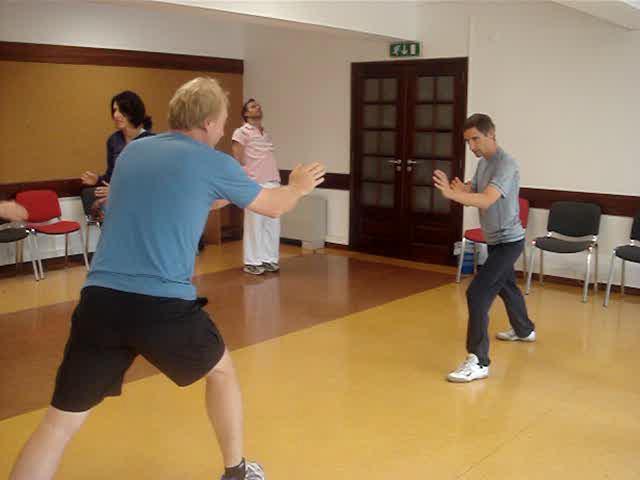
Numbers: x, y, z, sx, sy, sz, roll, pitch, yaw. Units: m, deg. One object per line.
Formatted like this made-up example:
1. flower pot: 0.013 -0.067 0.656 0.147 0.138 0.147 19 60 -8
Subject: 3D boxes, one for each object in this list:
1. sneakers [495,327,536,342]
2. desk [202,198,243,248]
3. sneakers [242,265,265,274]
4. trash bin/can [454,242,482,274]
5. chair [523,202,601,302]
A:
1. sneakers: 1.730 0.826 3.995 0.310 0.141 0.133 4 4 29
2. desk: -1.312 -0.163 6.091 0.243 0.608 0.642 6 11 32
3. sneakers: -0.878 0.388 6.018 0.252 0.122 0.111 1 9 9
4. trash bin/can: 1.968 0.246 6.062 0.375 0.422 0.354 0 1 8
5. chair: 2.795 0.106 5.165 0.830 1.021 0.823 -1 9 -3
